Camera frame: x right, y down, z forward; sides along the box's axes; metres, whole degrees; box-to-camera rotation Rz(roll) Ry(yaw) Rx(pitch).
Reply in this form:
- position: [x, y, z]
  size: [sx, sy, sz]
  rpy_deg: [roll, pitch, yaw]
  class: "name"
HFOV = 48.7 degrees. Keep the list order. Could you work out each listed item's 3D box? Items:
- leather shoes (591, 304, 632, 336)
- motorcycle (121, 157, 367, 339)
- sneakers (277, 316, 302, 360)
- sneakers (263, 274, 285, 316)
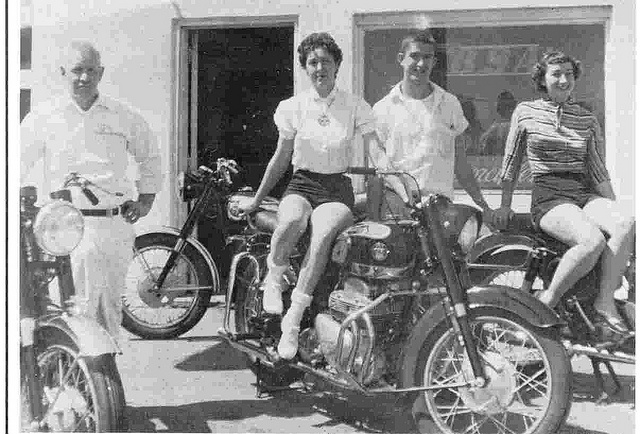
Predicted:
- position: [1.608, 0.584, 3.902]
  size: [0.228, 0.127, 0.055]
  rpy_deg: [4, 9, -1]
  class: "leather shoes"
- position: [-0.429, 0.186, 4.403]
  size: [1.634, 1.139, 0.663]
  rpy_deg: [-1, 9, -25]
  class: "motorcycle"
- position: [-0.168, 0.671, 3.856]
  size: [0.119, 0.227, 0.064]
  rpy_deg: [4, -6, 10]
  class: "sneakers"
- position: [-0.258, 0.432, 3.965]
  size: [0.147, 0.085, 0.278]
  rpy_deg: [13, 45, -8]
  class: "sneakers"
